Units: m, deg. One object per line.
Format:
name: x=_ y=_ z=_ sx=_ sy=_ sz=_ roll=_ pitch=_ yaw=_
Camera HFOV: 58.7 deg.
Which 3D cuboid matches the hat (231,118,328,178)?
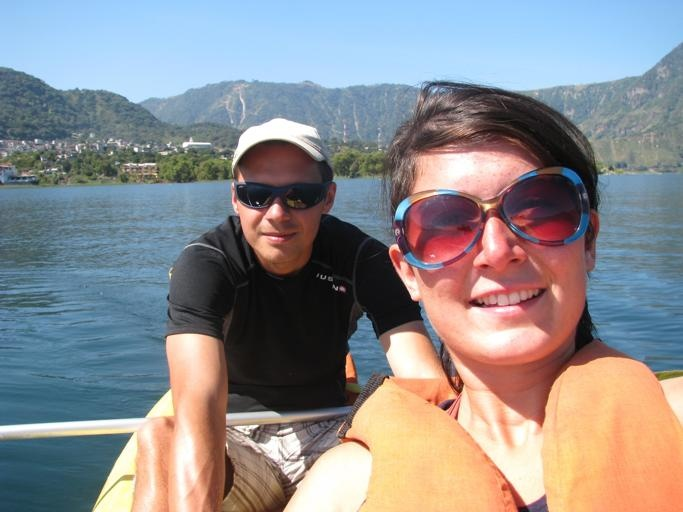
hat: x=-0.373 y=-0.769 z=3.813 sx=0.581 sy=0.277 sz=0.530 roll=-22 pitch=34 yaw=-26
